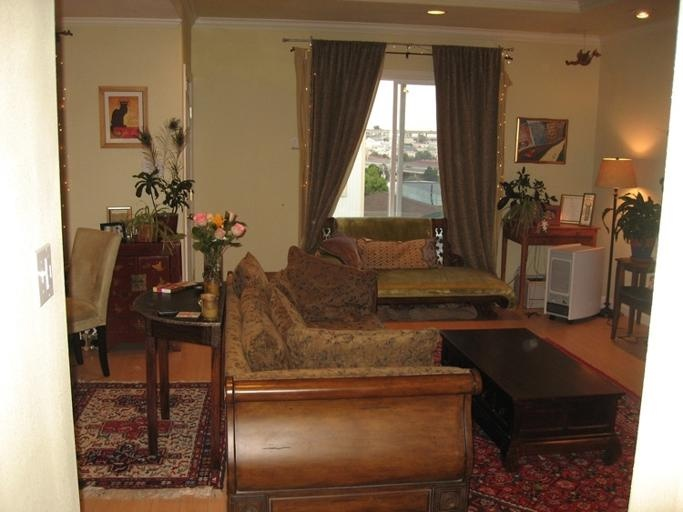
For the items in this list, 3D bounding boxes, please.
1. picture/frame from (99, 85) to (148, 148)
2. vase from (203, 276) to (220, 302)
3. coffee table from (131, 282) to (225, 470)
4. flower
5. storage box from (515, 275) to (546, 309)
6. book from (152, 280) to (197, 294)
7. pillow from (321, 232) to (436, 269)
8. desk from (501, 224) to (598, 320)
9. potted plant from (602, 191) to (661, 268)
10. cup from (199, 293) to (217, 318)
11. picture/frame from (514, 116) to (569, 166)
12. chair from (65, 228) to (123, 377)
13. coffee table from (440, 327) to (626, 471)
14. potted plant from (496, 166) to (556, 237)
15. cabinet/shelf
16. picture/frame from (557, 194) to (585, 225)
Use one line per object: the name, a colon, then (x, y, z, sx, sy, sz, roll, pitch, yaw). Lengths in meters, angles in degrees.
picture/frame: (-1.966, -1.273, 5.035, 0.554, 0.762, 0.051, 1, 9, -3)
vase: (-0.748, 0.193, 3.231, 0.112, 0.133, 0.120, 1, 0, 1)
coffee table: (-1.000, 0.764, 3.454, 0.428, 0.708, 0.919, 1, 10, -8)
flower: (-0.729, -0.069, 3.338, 0.296, 0.385, 0.261, -2, 15, -14)
storage box: (2.129, 0.401, 6.337, 0.340, 0.342, 0.369, 0, 1, -4)
book: (-1.087, 0.201, 3.638, 0.109, 0.026, 0.184, 5, 10, 22)
pillow: (0.413, -0.032, 5.675, 0.744, 0.247, 0.514, -1, 5, -6)
desk: (2.202, 0.223, 6.562, 0.895, 1.197, 1.192, 0, 7, -10)
potted plant: (2.836, -0.269, 5.122, 0.514, 0.636, 0.624, -7, 7, -23)
cup: (-0.721, 0.276, 3.062, 0.082, 0.137, 0.132, -1, 2, -6)
picture/frame: (2.304, -1.359, 6.535, 0.556, 0.483, 0.024, -1, 9, -4)
chair: (-1.903, 0.348, 4.367, 0.409, 1.039, 0.684, -6, 16, -24)
coffee table: (1.188, 0.818, 3.396, 0.743, 0.447, 1.172, -1, 10, -9)
potted plant: (2.013, -0.626, 6.326, 0.622, 0.882, 0.849, -1, 5, -12)
cabinet/shelf: (-1.490, 0.261, 4.163, 0.792, 0.809, 0.414, 0, 2, -12)
picture/frame: (2.626, -0.516, 6.407, 0.031, 0.436, 0.374, 11, -6, -32)
